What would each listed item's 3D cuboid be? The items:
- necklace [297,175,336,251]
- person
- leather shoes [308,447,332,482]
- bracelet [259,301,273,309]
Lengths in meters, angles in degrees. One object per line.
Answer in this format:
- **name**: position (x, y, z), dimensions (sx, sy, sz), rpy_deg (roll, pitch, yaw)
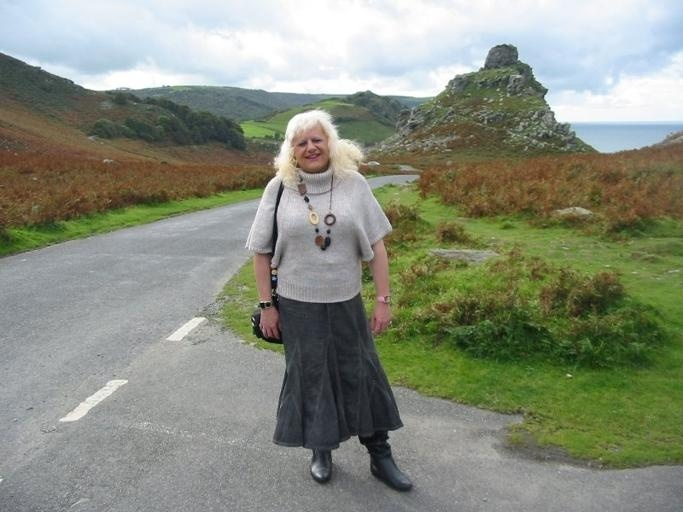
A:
- **necklace**: position (-0.204, -0.485, 4.209), dimensions (0.300, 0.097, 1.083), rpy_deg (18, 43, -27)
- **person**: position (-0.127, 0.392, 4.164), dimensions (1.308, 3.236, 0.890), rpy_deg (-2, 15, 6)
- **leather shoes**: position (-0.180, 1.851, 4.276), dimensions (0.146, 0.261, 0.391), rpy_deg (10, 4, -5)
- **bracelet**: position (-0.691, 0.426, 4.207), dimensions (0.098, 0.066, 0.104), rpy_deg (-3, 4, -23)
